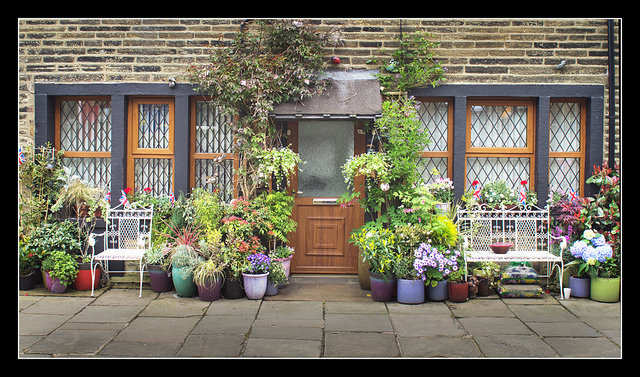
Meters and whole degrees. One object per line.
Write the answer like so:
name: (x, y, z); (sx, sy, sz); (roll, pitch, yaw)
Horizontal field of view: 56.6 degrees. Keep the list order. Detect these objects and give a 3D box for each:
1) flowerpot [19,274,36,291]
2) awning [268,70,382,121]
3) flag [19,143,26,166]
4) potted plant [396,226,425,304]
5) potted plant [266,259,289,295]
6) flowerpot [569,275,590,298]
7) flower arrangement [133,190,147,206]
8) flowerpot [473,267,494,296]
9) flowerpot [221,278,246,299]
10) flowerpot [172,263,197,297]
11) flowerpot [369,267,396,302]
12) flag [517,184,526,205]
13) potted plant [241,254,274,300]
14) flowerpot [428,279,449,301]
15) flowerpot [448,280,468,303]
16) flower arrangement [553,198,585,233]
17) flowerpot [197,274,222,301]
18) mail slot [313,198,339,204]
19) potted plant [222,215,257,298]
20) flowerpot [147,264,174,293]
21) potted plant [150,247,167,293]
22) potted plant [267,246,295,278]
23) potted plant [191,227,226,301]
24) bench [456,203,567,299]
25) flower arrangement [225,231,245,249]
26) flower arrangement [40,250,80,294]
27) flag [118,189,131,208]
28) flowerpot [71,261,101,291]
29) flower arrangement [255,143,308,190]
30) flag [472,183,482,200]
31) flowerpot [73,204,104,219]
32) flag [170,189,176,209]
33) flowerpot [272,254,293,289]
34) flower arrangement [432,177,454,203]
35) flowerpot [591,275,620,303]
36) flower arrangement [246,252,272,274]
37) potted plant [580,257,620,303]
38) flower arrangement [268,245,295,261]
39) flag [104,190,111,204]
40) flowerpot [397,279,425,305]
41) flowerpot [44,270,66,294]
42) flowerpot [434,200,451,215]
flowerpot: (-5.824, 1.872, 11.914); (0.351, 0.244, 0.265); (1, -6, -15)
awning: (0.238, -1.933, 12.204); (1.983, 1.098, 0.657); (-1, 3, 2)
flag: (-6.142, -0.680, 12.317); (0.119, 0.341, 0.234); (-3, 3, -26)
potted plant: (1.747, 1.475, 11.513); (0.520, 1.475, 0.342); (-1, 2, 7)
potted plant: (-0.837, 1.721, 12.030); (0.629, 0.740, 0.737); (-1, 12, -5)
flowerpot: (5.185, 1.975, 12.069); (0.532, 0.349, 0.500); (4, -2, -13)
flower arrangement: (-3.700, 0.197, 12.301); (0.260, 0.285, 0.365); (-3, 3, -21)
flowerpot: (3.283, 1.838, 11.781); (0.446, 0.563, 0.227); (-3, 3, -27)
flowerpot: (-1.685, 1.971, 11.706); (0.428, 0.287, 0.405); (0, -1, 0)
flowerpot: (-2.659, 1.813, 11.882); (0.661, 0.657, 0.612); (0, -2, -4)
flowerpot: (1.249, 1.930, 11.710); (0.648, 0.504, 0.661); (-2, -7, 45)
flag: (4.183, 0.125, 12.366); (0.163, 0.377, 0.435); (-1, 3, 18)
potted plant: (-1.221, 1.736, 11.523); (0.866, 0.863, 0.804); (1, -4, 0)
flowerpot: (2.306, 1.986, 11.659); (0.418, 0.278, 0.395); (0, -1, -1)
flowerpot: (2.655, 1.980, 11.468); (0.438, 0.374, 0.396); (1, -3, 3)
flower arrangement: (5.008, 0.528, 12.200); (0.670, 0.486, 0.639); (-5, -4, 11)
flowerpot: (-2.104, 1.921, 11.491); (0.484, 0.385, 0.531); (3, -6, -38)
mail slot: (0.117, 0.256, 12.612); (0.518, 0.130, 0.054); (-1, 2, 0)
potted plant: (-1.426, 1.400, 11.800); (0.767, 1.491, 0.898); (11, -4, 1)
flowerpot: (-3.158, 1.798, 11.984); (0.586, 0.404, 0.556); (0, -6, -1)
potted plant: (-3.139, 1.622, 11.748); (0.394, 0.896, 0.154); (-1, 3, 12)
potted plant: (-0.737, 1.462, 12.116); (0.588, 0.386, 0.547); (0, 4, 8)
potted plant: (-2.115, 1.489, 11.520); (0.611, 1.350, 0.316); (-2, 2, -9)
bench: (3.871, 1.316, 12.549); (1.886, 2.012, 3.174); (0, -1, 1)
flower arrangement: (-1.642, 0.992, 11.603); (0.331, 0.332, 0.304); (-2, 3, -7)
flower arrangement: (-5.122, 1.647, 11.744); (0.684, 0.865, 0.225); (-2, 2, -3)
flag: (-4.028, 0.197, 12.284); (0.222, 0.360, 0.452); (-3, 3, -20)
flowerpot: (-4.596, 1.777, 11.996); (0.594, 0.409, 0.535); (-1, -5, 15)
flower arrangement: (-0.845, -0.531, 12.273); (0.680, 1.115, 1.222); (1, 1, 3)
flag: (3.252, 0.061, 12.384); (0.207, 0.244, 0.383); (-11, 42, 17)
flowerpot: (-4.769, 0.463, 12.447); (0.372, 0.228, 0.380); (1, -6, -9)
flag: (-3.062, 0.210, 12.424); (0.117, 0.380, 0.554); (-2, 3, -13)
flowerpot: (-0.685, 1.660, 12.033); (0.587, 0.431, 0.578); (1, 4, 7)
flower arrangement: (2.555, 0.049, 12.233); (0.632, 0.631, 0.483); (0, 0, -6)
flowerpot: (5.659, 1.986, 11.907); (0.614, 0.404, 0.599); (2, 1, -27)
flower arrangement: (-1.188, 1.435, 11.511); (0.406, 0.306, 0.374); (4, -1, -4)
potted plant: (5.695, 1.821, 11.840); (0.745, 0.839, 0.886); (0, -5, 0)
flower arrangement: (-0.807, 1.297, 12.127); (0.294, 0.144, 0.322); (6, 11, 44)
flag: (-4.415, 0.174, 12.419); (0.122, 0.287, 0.301); (-2, 3, -16)
flowerpot: (1.757, 1.987, 11.404); (0.517, 0.356, 0.489); (1, -3, 1)
flowerpot: (-5.223, 1.845, 11.887); (0.475, 0.382, 0.439); (2, 2, 0)
flowerpot: (2.488, 0.385, 12.142); (0.294, 0.214, 0.407); (-1, 3, 14)
